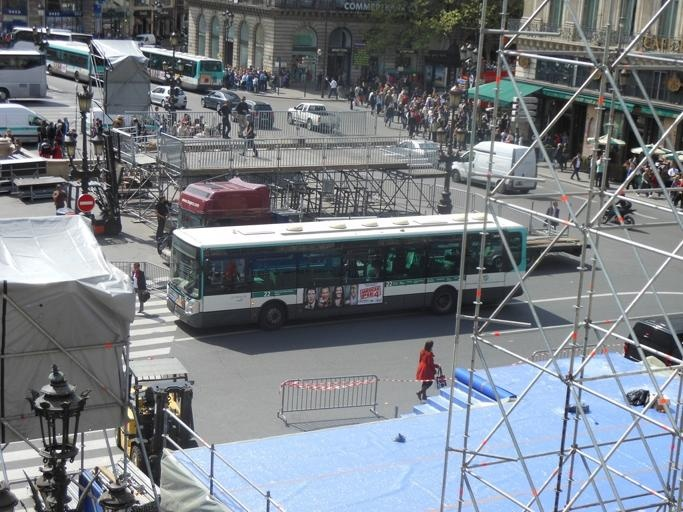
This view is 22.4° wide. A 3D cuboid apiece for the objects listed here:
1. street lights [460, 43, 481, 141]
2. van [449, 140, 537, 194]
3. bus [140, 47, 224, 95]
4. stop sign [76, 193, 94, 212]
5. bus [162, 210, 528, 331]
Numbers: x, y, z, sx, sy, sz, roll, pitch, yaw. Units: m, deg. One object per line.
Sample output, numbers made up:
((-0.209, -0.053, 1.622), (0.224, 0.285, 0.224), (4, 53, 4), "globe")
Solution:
((8.147, -11.220, 103.735), (0.858, 4.426, 0.814), (23, 54, 34), "street lights")
((7.031, -4.282, 79.631), (1.933, 2.019, 4.280), (-4, 13, -36), "van")
((-9.980, -11.792, 106.754), (2.361, 2.047, 8.074), (-2, 13, -36), "bus")
((-9.594, -2.060, 64.668), (0.808, 0.908, 0.174), (-7, 14, -41), "stop sign")
((0.155, 0.238, 64.081), (13.274, 3.582, 3.417), (-3, 18, -23), "bus")
